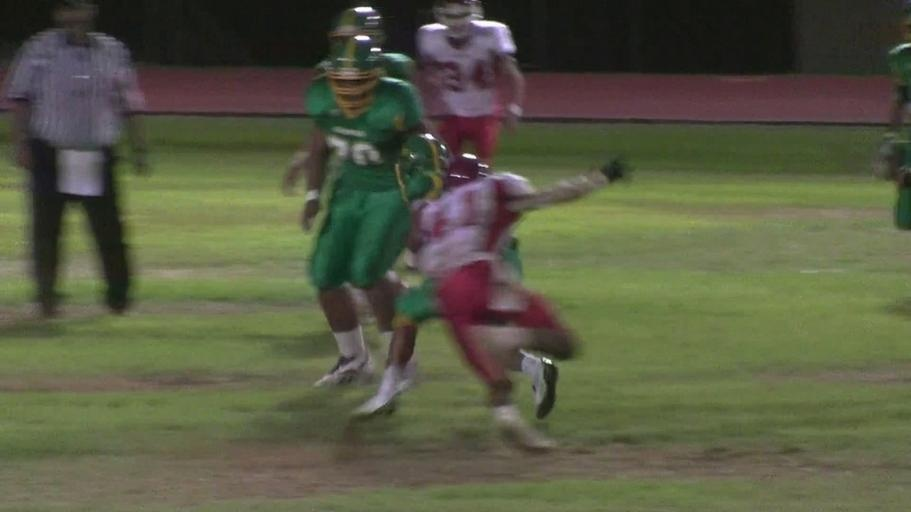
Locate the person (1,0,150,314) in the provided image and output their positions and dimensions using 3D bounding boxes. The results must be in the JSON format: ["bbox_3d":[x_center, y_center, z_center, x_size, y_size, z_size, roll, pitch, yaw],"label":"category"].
[{"bbox_3d":[-4.297,-1.065,22.256,1.420,3.610,0.505,-1,16,-9],"label":"person"}]
